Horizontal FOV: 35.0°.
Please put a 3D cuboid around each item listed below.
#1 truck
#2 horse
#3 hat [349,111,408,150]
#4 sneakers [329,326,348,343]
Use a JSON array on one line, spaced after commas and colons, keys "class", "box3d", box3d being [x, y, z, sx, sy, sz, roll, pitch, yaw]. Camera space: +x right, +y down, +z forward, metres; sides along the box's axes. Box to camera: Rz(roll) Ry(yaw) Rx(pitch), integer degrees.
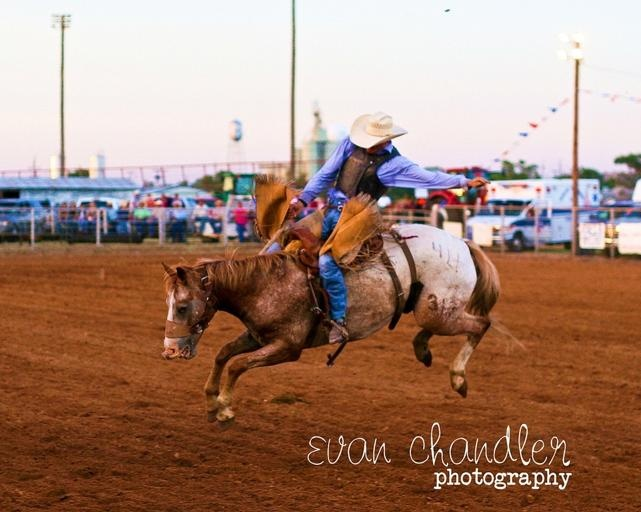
[{"class": "truck", "box3d": [5.883, -1.127, 25.747, 3.788, 1.817, 2.733, -2, 1, -40]}, {"class": "horse", "box3d": [0.266, 0.672, 10.380, 3.651, 1.699, 0.876, -10, 14, -20]}, {"class": "hat", "box3d": [0.547, -1.291, 10.201, 0.480, 0.218, 0.574, 9, 8, 15]}, {"class": "sneakers", "box3d": [0.175, 0.746, 9.905, 0.178, 0.204, 0.126, 1, 12, 1]}]
